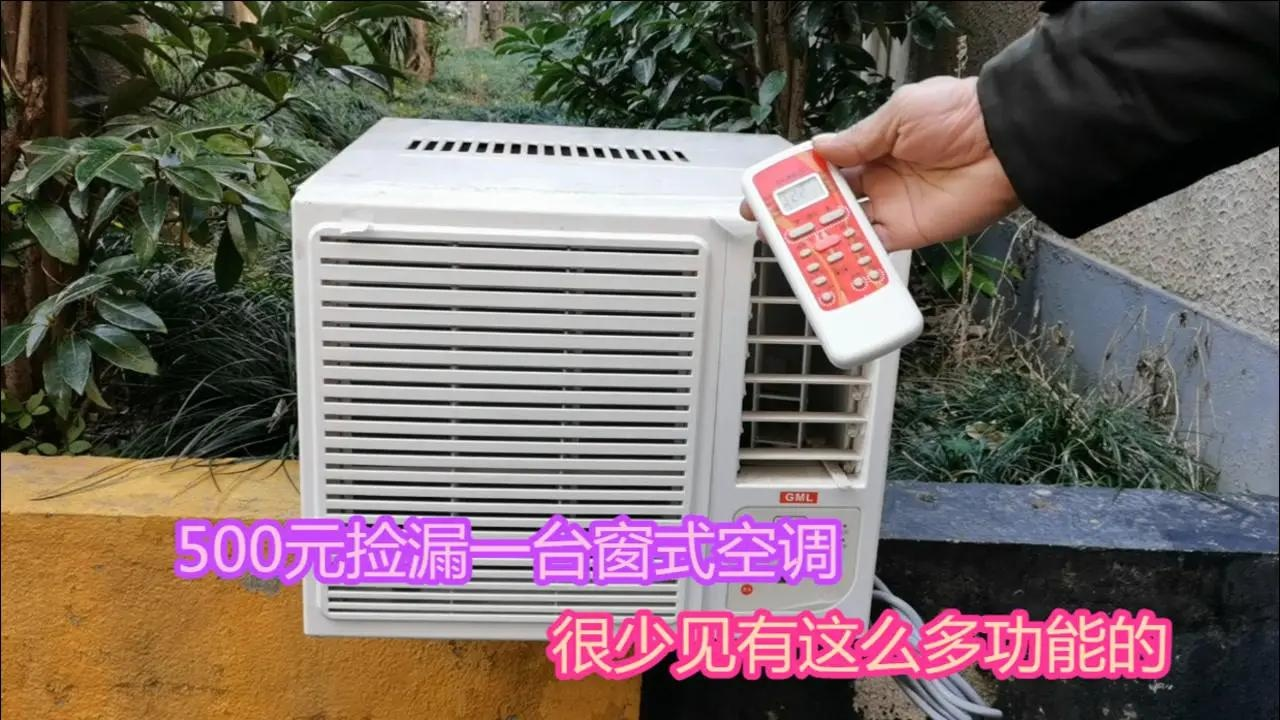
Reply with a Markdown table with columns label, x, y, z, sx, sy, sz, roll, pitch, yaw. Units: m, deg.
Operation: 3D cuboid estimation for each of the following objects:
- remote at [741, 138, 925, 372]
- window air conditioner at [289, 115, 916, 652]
| label | x | y | z | sx | sy | sz | roll | pitch | yaw |
| --- | --- | --- | --- | --- | --- | --- | --- | --- | --- |
| remote | 0.415 | -0.214 | 2.951 | 0.278 | 0.151 | 0.545 | -27 | 83 | -2 |
| window air conditioner | -0.157 | -0.019 | 3.370 | 1.311 | 0.863 | 1.259 | -1 | 10 | -4 |
